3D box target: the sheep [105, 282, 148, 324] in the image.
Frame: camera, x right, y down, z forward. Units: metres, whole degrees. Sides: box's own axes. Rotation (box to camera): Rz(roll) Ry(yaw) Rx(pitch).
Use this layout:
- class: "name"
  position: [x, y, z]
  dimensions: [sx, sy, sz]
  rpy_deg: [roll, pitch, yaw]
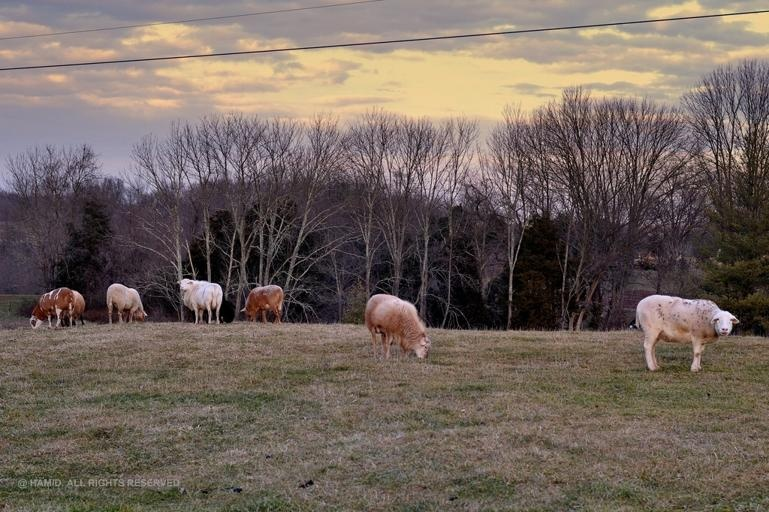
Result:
- class: "sheep"
  position: [-14.670, 2.689, 66.384]
  dimensions: [1.977, 2.208, 4.110]
  rpy_deg: [1, -2, -11]

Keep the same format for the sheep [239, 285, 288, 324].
- class: "sheep"
  position: [-6.776, 2.827, 65.317]
  dimensions: [1.008, 2.038, 3.491]
  rpy_deg: [5, -14, -44]

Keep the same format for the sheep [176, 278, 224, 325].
- class: "sheep"
  position: [-10.102, 2.463, 64.418]
  dimensions: [1.228, 2.527, 3.210]
  rpy_deg: [3, -5, -38]
